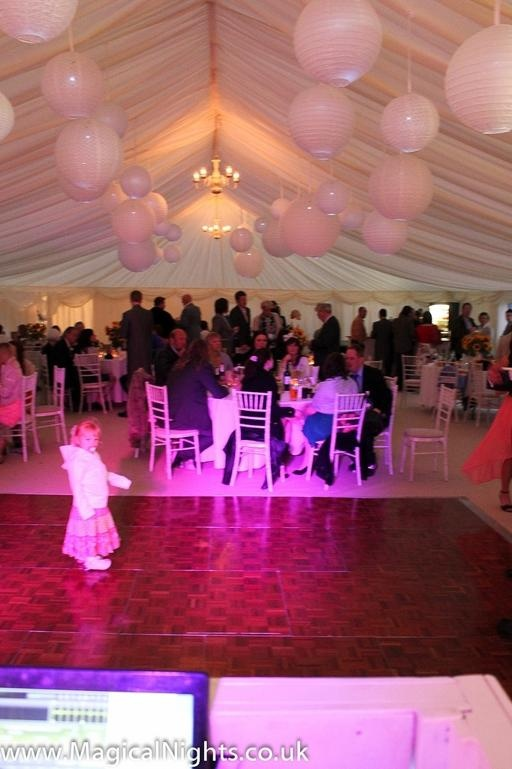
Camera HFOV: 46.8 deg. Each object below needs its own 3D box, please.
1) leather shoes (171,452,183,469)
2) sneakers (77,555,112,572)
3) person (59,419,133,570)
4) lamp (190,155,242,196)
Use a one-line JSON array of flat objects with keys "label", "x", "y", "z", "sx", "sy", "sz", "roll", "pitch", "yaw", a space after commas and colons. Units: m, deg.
[{"label": "leather shoes", "x": -0.730, "y": 0.702, "z": 5.466, "sx": 0.111, "sy": 0.124, "sz": 0.065, "roll": 5, "pitch": 23, "yaw": -20}, {"label": "sneakers", "x": -0.902, "y": 0.992, "z": 3.294, "sx": 0.135, "sy": 0.045, "sz": 0.080, "roll": 1, "pitch": 12, "yaw": -7}, {"label": "person", "x": -0.909, "y": 0.611, "z": 3.342, "sx": 0.364, "sy": 0.822, "sz": 0.344, "roll": -2, "pitch": 8, "yaw": -18}, {"label": "lamp", "x": -0.668, "y": -3.499, "z": 9.790, "sx": 0.880, "sy": 0.766, "sz": 0.851, "roll": -3, "pitch": 34, "yaw": -4}]
